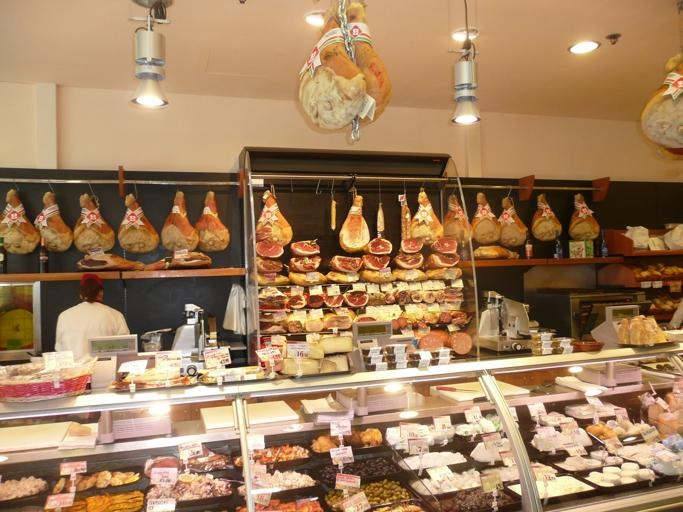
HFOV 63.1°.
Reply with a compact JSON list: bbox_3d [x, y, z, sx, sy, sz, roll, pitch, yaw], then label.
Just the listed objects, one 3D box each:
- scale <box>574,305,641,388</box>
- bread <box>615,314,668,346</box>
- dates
[{"bbox_3d":[1.871,0.576,3.896,0.364,0.550,0.419,0,6,-36],"label":"scale"},{"bbox_3d":[1.966,0.492,3.651,0.246,0.131,0.245,-2,-1,-43],"label":"bread"},{"bbox_3d":[0.135,1.317,3.244,0.502,0.154,0.224,-2,-1,-13],"label":"dates"}]
